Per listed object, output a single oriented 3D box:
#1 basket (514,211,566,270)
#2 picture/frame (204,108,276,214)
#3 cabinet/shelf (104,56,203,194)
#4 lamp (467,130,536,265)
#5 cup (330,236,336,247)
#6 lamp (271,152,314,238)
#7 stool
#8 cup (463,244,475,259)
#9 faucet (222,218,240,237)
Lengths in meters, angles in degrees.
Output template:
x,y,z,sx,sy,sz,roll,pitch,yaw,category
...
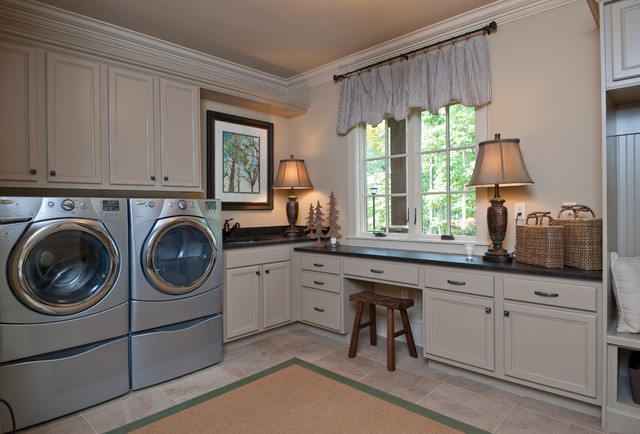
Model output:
x,y,z,sx,sy,sz,roll,pitch,yaw,category
1.801,0.204,3.580,0.224,0.626,0.455,-1,3,-26,basket
-0.951,-0.650,5.012,0.056,1.525,1.279,-2,-2,41,picture/frame
-1.562,-0.826,4.150,0.884,1.143,0.354,-7,16,-23,cabinet/shelf
1.555,-0.181,3.828,0.507,1.064,0.501,6,16,25,lamp
0.143,0.264,4.774,0.064,0.098,0.135,-1,14,0,cup
-0.319,-0.270,5.208,0.460,0.912,0.617,-1,14,-2,lamp
0.560,1.052,4.230,0.580,0.779,0.693,1,-3,-44,stool
1.329,0.311,3.972,0.114,0.138,0.111,0,3,0,cup
-0.952,0.116,4.883,0.243,0.215,0.137,-2,-1,35,faucet
